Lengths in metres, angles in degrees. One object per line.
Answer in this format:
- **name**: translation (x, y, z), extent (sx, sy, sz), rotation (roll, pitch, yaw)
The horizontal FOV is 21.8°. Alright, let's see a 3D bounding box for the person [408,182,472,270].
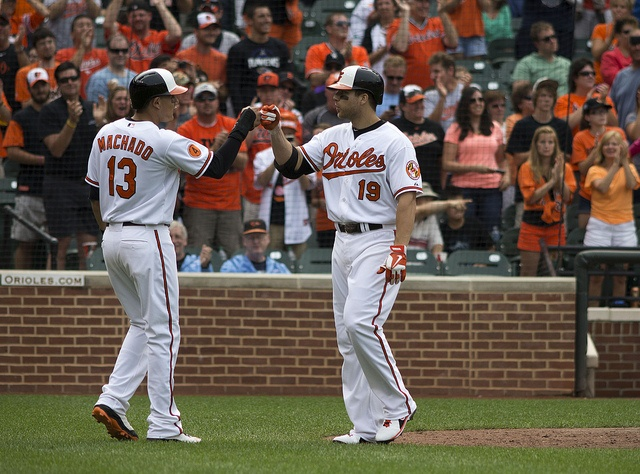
- **person**: translation (1.441, -0.102, 19.839), extent (1.038, 1.115, 0.467), rotation (0, -5, -7)

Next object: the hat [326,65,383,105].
- **hat**: translation (0.384, -1.550, 17.056), extent (0.508, 0.261, 0.349), rotation (8, 4, -7)

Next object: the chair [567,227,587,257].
- **chair**: translation (3.052, 0.061, 20.024), extent (0.294, 0.367, 0.309), rotation (4, -3, -38)

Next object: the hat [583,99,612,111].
- **hat**: translation (3.405, -1.617, 20.374), extent (0.349, 0.171, 0.259), rotation (-1, -3, 4)

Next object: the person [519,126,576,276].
- **person**: translation (2.610, -0.414, 19.662), extent (0.540, 1.742, 0.171), rotation (-1, -3, 4)

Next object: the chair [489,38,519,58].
- **chair**: translation (2.230, -2.322, 20.491), extent (0.272, 0.202, 0.291), rotation (2, 0, 10)

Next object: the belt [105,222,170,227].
- **belt**: translation (-1.843, -0.123, 16.881), extent (0.619, 0.047, 0.185), rotation (0, -3, -7)

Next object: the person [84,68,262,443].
- **person**: translation (-1.665, 0.184, 16.948), extent (1.417, 3.796, 0.582), rotation (0, -3, -8)

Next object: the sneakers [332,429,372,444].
- **sneakers**: translation (0.320, 2.057, 16.935), extent (0.391, 0.158, 0.143), rotation (6, -13, -3)

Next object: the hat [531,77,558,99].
- **hat**: translation (2.708, -1.789, 20.024), extent (0.191, 0.267, 0.270), rotation (0, 2, -14)

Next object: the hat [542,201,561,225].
- **hat**: translation (2.746, -0.289, 19.630), extent (0.260, 0.263, 0.155), rotation (-2, -4, 22)

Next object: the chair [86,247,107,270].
- **chair**: translation (-2.644, 0.265, 19.951), extent (0.261, 0.330, 0.353), rotation (0, 1, 2)

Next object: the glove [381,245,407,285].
- **glove**: translation (0.761, 0.278, 16.784), extent (0.256, 0.347, 0.146), rotation (4, 12, 7)

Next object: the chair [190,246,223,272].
- **chair**: translation (-1.361, 0.276, 19.908), extent (0.264, 0.348, 0.336), rotation (15, -25, -25)

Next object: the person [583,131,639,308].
- **person**: translation (3.469, -0.582, 19.894), extent (0.627, 1.370, 0.261), rotation (-1, -3, 8)

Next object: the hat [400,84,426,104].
- **hat**: translation (1.142, -1.798, 20.884), extent (0.203, 0.141, 0.277), rotation (-1, 1, -9)

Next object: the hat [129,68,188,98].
- **hat**: translation (-1.642, -1.602, 16.930), extent (0.445, 0.224, 0.297), rotation (-9, 18, -12)

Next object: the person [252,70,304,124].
- **person**: translation (-0.570, -1.828, 21.097), extent (0.474, 0.384, 0.764), rotation (3, 12, 1)

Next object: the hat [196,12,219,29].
- **hat**: translation (-1.449, -2.811, 21.577), extent (0.259, 0.239, 0.212), rotation (-2, -4, 30)

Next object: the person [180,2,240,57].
- **person**: translation (-1.483, -2.798, 22.530), extent (0.772, 0.752, 0.264), rotation (0, 9, -36)

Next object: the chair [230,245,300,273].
- **chair**: translation (-0.520, 0.274, 19.901), extent (0.476, 0.172, 0.350), rotation (4, -21, -4)
